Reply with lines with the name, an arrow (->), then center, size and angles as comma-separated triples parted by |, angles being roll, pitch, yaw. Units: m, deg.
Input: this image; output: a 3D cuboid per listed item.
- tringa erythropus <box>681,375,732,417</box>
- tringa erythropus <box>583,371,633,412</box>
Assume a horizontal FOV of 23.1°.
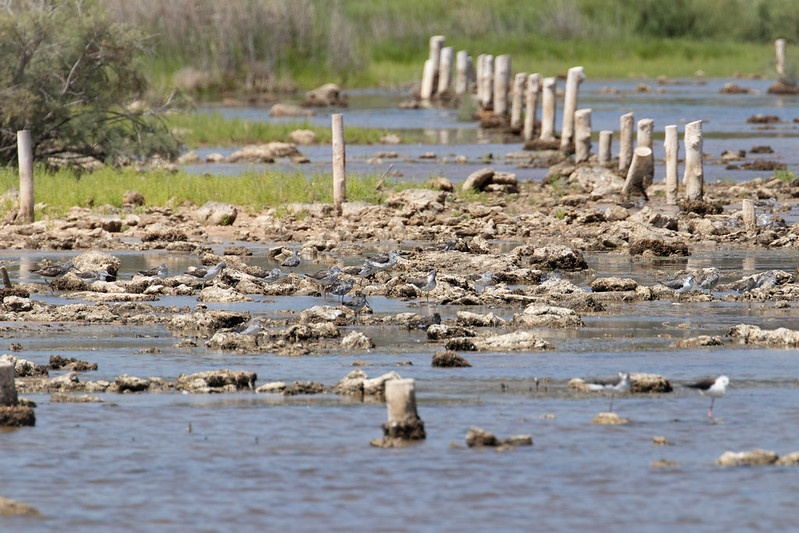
tringa erythropus -> 6.560, 2.730, 42.096 | 0.970, 0.913, 0.918 | -2, 8, 9
tringa erythropus -> 4.472, 2.636, 42.361 | 0.740, 0.359, 0.950 | -4, -6, -15
